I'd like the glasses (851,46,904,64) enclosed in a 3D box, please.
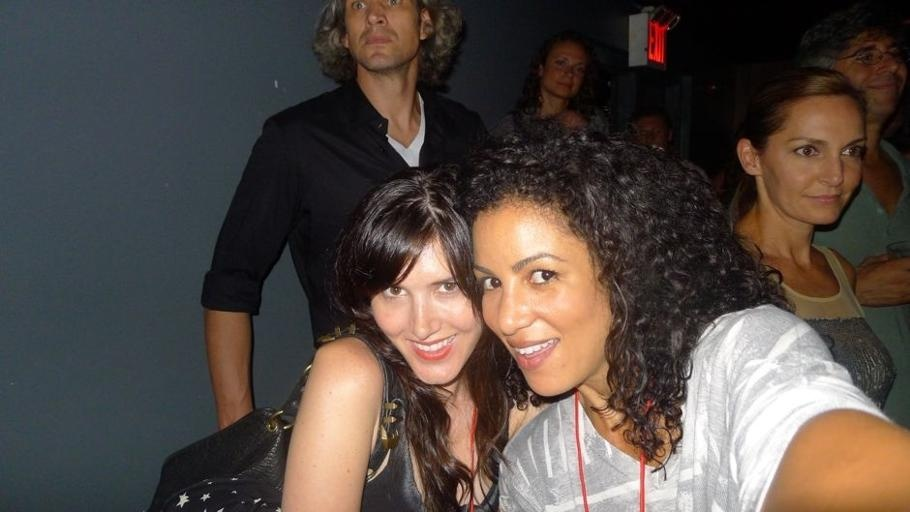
[{"bbox_3d":[2.816,-1.349,5.024,0.178,0.051,0.174,0,-1,1],"label":"glasses"}]
